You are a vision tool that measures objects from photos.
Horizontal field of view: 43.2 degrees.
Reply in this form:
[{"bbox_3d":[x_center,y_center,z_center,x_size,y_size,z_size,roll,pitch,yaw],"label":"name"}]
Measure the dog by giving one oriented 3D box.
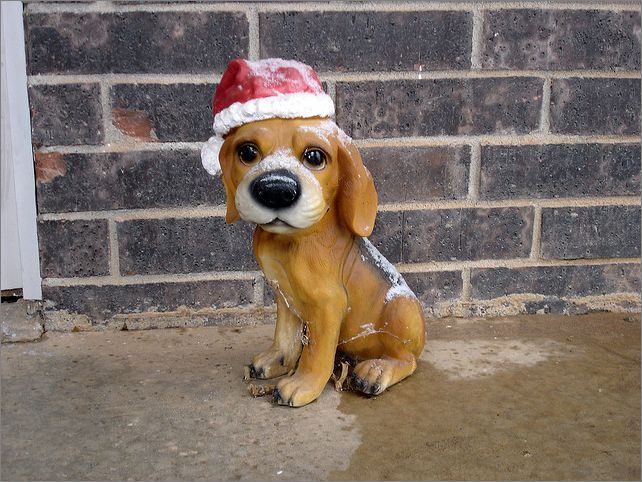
[{"bbox_3d":[-0.029,-0.103,3.339,0.769,1.326,0.628,-12,21,-36],"label":"dog"}]
